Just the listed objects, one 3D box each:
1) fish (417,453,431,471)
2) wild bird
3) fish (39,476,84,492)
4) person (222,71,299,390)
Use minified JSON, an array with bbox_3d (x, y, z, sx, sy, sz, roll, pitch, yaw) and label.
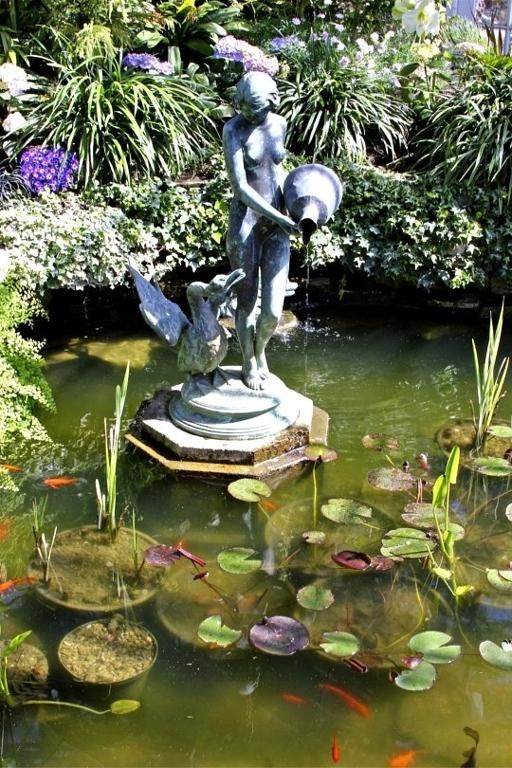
[{"bbox_3d":[0.836,0.391,3.460,0.030,0.075,0.154,30,-1,0],"label":"fish"},{"bbox_3d":[-0.296,-0.280,3.536,0.680,0.548,0.541,-16,8,-38],"label":"wild bird"},{"bbox_3d":[-0.946,0.483,3.400,0.195,0.032,0.143,0,11,-16],"label":"fish"},{"bbox_3d":[0.005,-0.643,3.211,0.336,1.430,0.570,2,11,-2],"label":"person"}]
